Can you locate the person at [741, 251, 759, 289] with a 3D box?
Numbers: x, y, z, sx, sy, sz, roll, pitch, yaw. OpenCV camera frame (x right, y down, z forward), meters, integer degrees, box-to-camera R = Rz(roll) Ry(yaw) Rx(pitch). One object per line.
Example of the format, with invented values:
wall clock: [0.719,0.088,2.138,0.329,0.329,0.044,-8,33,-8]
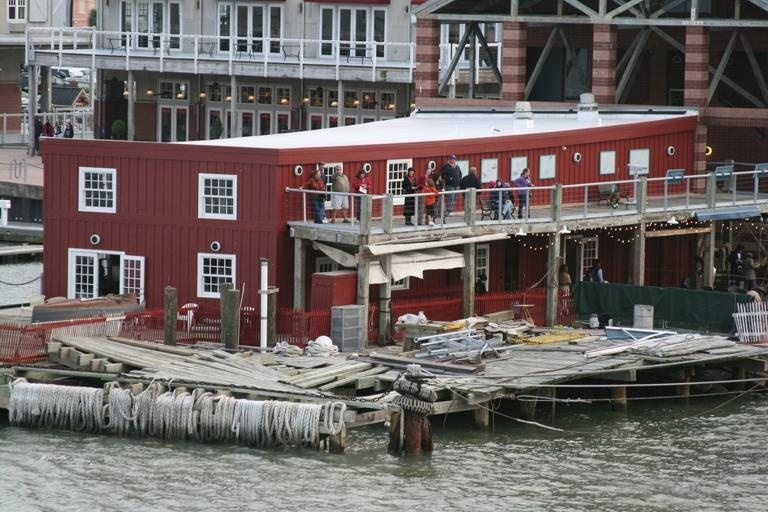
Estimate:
person: [14.047,0.597,83.994,0.530,1.460,2.371,-2,-1,9]

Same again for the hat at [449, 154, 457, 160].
hat: [2.394,-3.597,79.599,0.259,0.139,0.341,0,4,3]
